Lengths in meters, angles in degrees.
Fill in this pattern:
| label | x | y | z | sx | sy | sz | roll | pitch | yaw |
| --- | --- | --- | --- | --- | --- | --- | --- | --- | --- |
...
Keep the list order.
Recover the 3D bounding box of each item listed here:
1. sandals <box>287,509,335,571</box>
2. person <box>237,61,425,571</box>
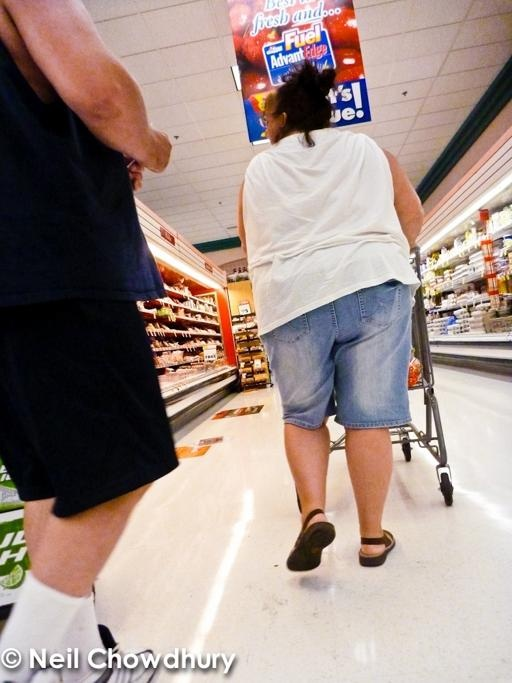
| label | x | y | z | sx | sy | sz | roll | pitch | yaw |
| --- | --- | --- | --- | --- | --- | --- | --- | --- | --- |
| sandals | 0.133 | 0.530 | 1.147 | 0.080 | 0.210 | 0.089 | 7 | 39 | -10 |
| person | 0.264 | -0.154 | 1.299 | 0.608 | 1.414 | 0.419 | -9 | -3 | -2 |
